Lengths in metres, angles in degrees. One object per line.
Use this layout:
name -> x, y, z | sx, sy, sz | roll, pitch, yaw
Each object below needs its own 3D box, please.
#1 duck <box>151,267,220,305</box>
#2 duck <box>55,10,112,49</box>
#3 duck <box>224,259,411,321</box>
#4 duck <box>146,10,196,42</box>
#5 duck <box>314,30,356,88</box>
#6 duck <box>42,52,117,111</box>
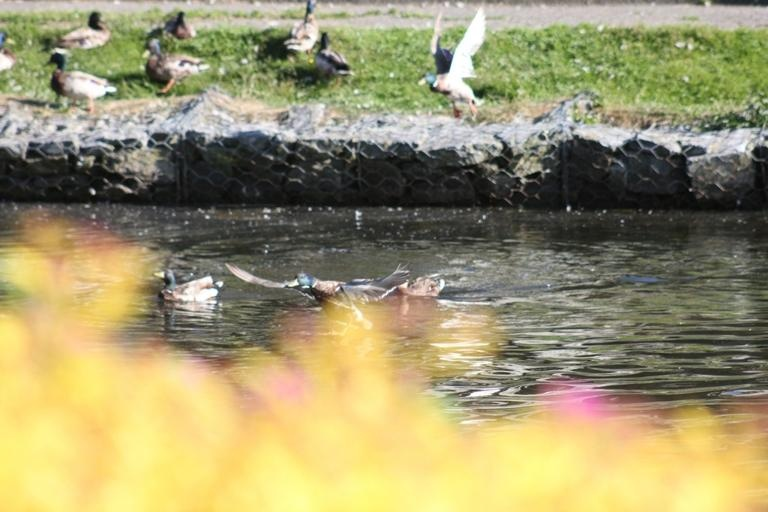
duck -> -2.549, 0.409, 18.524 | 0.940, 0.450, 0.506 | -3, 9, -25
duck -> -5.822, -4.392, 27.855 | 0.441, 0.744, 1.175 | 20, 24, 39
duck -> -0.683, 0.361, 17.646 | 1.862, 0.696, 1.119 | 2, 17, -3
duck -> -4.294, -4.603, 28.423 | 0.917, 0.379, 0.602 | 5, 17, 23
duck -> -1.093, -3.725, 26.744 | 0.517, 0.731, 1.180 | -13, 48, -43
duck -> -5.442, -3.087, 25.427 | 1.010, 0.918, 1.045 | -6, 20, -26
